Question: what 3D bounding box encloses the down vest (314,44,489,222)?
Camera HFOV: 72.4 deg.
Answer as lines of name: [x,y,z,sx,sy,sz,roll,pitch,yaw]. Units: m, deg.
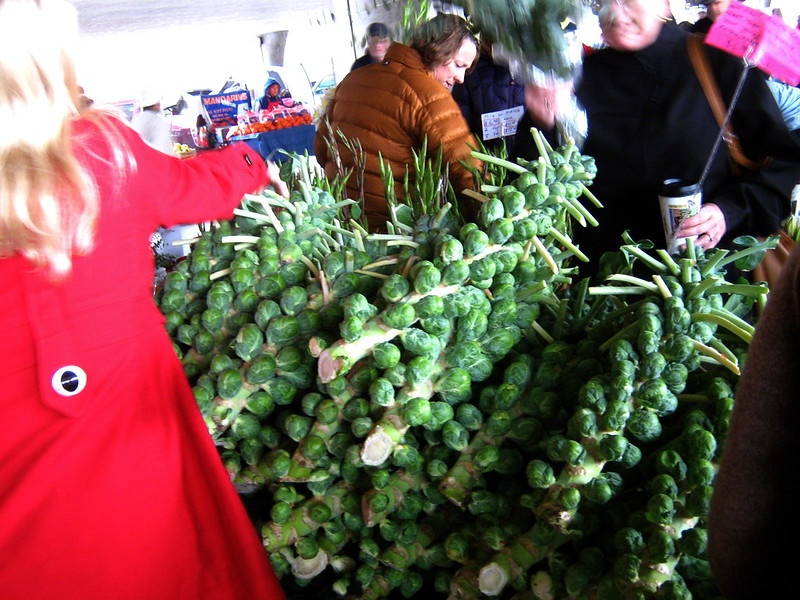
down vest: [-0.040,-0.670,2.282,0.822,0.695,0.415,19,25,32]
